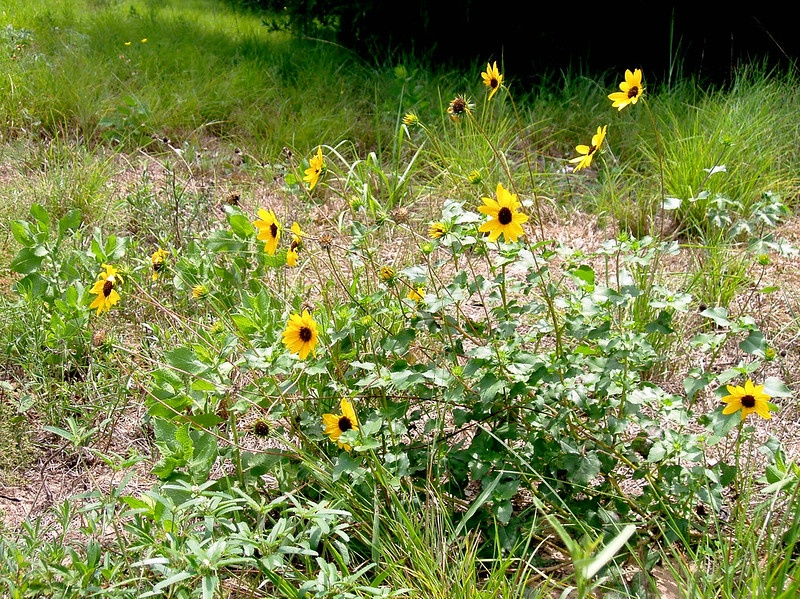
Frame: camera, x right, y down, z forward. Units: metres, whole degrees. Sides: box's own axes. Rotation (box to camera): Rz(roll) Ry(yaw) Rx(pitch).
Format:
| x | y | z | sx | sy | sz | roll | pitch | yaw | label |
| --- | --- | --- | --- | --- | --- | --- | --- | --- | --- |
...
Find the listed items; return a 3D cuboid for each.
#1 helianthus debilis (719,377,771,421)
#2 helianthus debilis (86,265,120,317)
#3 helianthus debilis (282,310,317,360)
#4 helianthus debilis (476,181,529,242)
| x | y | z | sx | sy | sz | roll | pitch | yaw | label |
| --- | --- | --- | --- | --- | --- | --- | --- | --- | --- |
| 1.270 | 0.356 | 2.990 | 0.169 | 0.146 | 0.141 | 19 | 42 | 25 | helianthus debilis |
| -1.258 | -0.049 | 3.534 | 0.217 | 0.077 | 0.194 | 26 | 6 | -23 | helianthus debilis |
| -0.386 | 0.145 | 3.127 | 0.149 | 0.182 | 0.053 | -17 | 7 | 2 | helianthus debilis |
| 0.401 | -0.322 | 3.152 | 0.174 | 0.218 | 0.057 | -18 | 35 | -20 | helianthus debilis |
